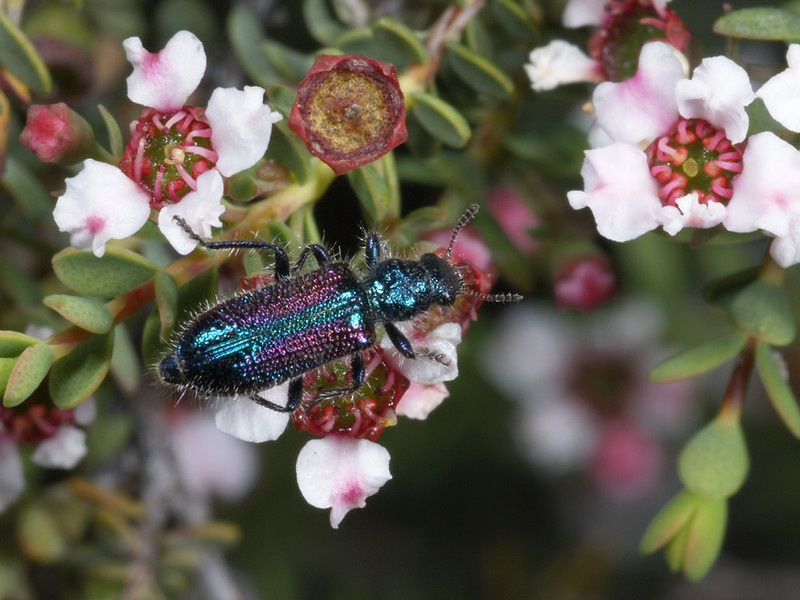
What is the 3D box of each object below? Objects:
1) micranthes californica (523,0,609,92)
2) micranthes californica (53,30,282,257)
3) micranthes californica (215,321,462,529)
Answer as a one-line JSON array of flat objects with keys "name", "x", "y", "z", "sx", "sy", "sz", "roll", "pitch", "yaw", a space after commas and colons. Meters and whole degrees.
[{"name": "micranthes californica", "x": 0.370, "y": -0.523, "z": 1.849, "sx": 0.183, "sy": 0.058, "sz": 0.196, "roll": -17, "pitch": 77, "yaw": -8}, {"name": "micranthes californica", "x": -0.428, "y": -0.227, "z": 1.598, "sx": 0.363, "sy": 0.138, "sz": 0.427, "roll": 16, "pitch": 80, "yaw": 2}, {"name": "micranthes californica", "x": -0.086, "y": 0.252, "z": 1.714, "sx": 0.515, "sy": 0.156, "sz": 0.308, "roll": -22, "pitch": 82, "yaw": -1}]
